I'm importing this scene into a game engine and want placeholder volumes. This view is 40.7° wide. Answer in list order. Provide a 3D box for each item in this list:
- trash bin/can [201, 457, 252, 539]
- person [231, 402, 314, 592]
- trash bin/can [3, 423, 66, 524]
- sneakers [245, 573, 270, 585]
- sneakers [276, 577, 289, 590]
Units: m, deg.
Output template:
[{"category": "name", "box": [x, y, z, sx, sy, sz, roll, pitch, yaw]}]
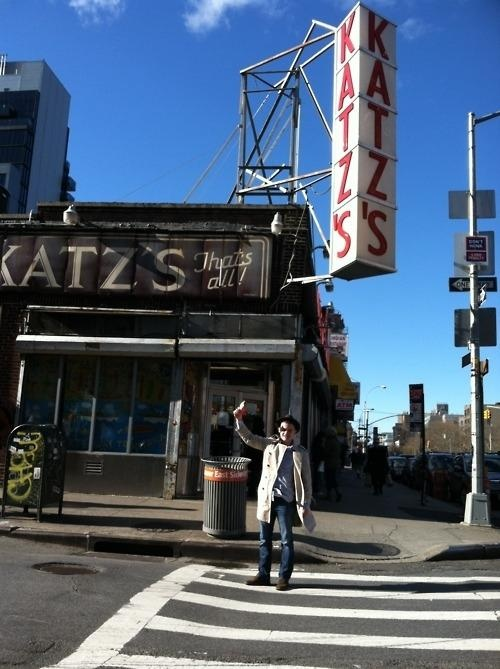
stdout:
[{"category": "trash bin/can", "box": [-0.321, 2.256, 9.373, 0.751, 0.998, 0.743, 0, -8, 8]}, {"category": "person", "box": [0.246, 1.574, 6.682, 0.791, 1.758, 0.480, 2, -9, 7]}, {"category": "trash bin/can", "box": [-3.162, 2.002, 10.009, 0.880, 1.328, 0.732, 8, -10, -27]}, {"category": "sneakers", "box": [0.090, 2.396, 6.648, 0.271, 0.105, 0.092, 3, -12, 0]}, {"category": "sneakers", "box": [0.318, 2.377, 6.481, 0.102, 0.123, 0.234, 1, -9, 11]}]
